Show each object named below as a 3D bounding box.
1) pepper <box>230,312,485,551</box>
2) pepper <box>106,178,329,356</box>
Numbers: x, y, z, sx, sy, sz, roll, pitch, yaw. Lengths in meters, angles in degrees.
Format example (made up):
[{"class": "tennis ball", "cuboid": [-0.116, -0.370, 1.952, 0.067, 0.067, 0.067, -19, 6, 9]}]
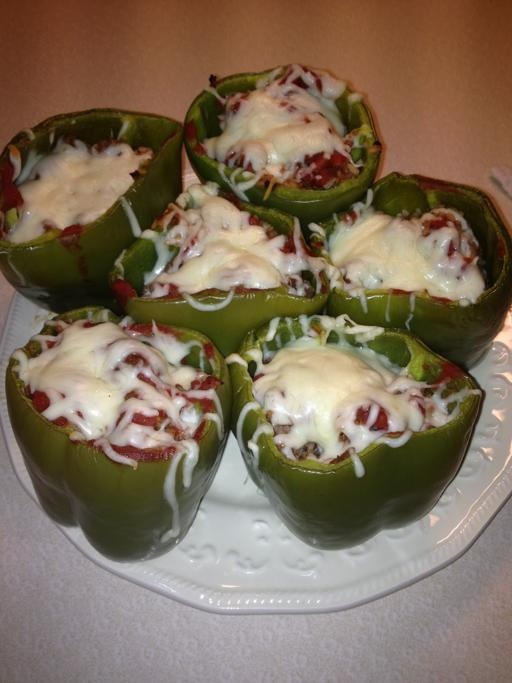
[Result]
[{"class": "pepper", "cuboid": [0.157, 0.137, 1.121, 0.400, 0.252, 0.296, -6, 49, 0]}, {"class": "pepper", "cuboid": [-0.064, -0.156, 1.281, 0.308, 0.210, 0.331, -28, 64, 11]}]
